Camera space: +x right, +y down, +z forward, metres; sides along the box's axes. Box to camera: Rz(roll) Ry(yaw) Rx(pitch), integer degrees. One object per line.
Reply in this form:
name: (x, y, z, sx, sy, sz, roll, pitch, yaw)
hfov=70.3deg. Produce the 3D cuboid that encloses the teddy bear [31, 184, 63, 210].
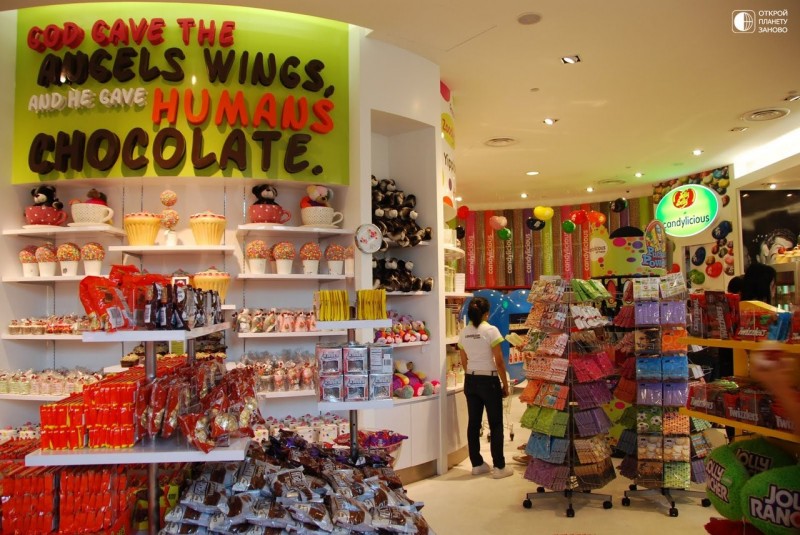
teddy bear: (-3.507, -0.691, 5.624, 0.230, 0.225, 0.164, -7, -12, 9)

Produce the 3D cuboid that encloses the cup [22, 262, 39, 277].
cup: (-3.668, 0.031, 5.614, 0.152, 0.114, 0.139, -2, -3, 0)

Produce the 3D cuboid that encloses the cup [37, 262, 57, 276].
cup: (-3.469, 0.025, 5.608, 0.156, 0.110, 0.142, 1, -3, 0)

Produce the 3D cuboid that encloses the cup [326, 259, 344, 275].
cup: (-0.660, 0.007, 5.750, 0.146, 0.112, 0.143, 0, 2, 0)

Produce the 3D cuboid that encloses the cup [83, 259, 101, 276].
cup: (-2.953, 0.001, 5.461, 0.168, 0.121, 0.166, -2, 1, 0)

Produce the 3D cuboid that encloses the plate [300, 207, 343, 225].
plate: (-0.799, -0.500, 5.743, 0.288, 0.116, 0.224, 1, -6, -10)

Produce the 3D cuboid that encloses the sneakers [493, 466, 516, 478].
sneakers: (1.125, 2.209, 6.183, 0.252, 0.097, 0.103, 0, -1, -42)

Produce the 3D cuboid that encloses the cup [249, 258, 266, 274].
cup: (-1.411, -0.010, 5.656, 0.154, 0.110, 0.152, 1, -2, 0)

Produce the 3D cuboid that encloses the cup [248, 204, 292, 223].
cup: (-1.310, -0.521, 5.668, 0.286, 0.125, 0.219, 1, -2, -5)

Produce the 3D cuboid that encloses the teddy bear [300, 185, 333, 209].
teddy bear: (-0.840, -0.712, 5.803, 0.343, 0.261, 0.227, 0, -3, -23)

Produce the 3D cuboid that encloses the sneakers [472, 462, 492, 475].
sneakers: (0.892, 2.206, 6.239, 0.088, 0.093, 0.238, -2, -1, 38)

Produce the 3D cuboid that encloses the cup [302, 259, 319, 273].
cup: (-0.899, -0.008, 5.747, 0.143, 0.103, 0.142, 0, 3, 0)

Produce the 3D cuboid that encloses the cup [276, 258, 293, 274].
cup: (-1.170, -0.003, 5.663, 0.152, 0.110, 0.138, 1, -1, 33)

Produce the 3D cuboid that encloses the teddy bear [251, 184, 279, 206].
teddy bear: (-1.379, -0.719, 5.799, 0.249, 0.243, 0.379, -1, -3, -13)

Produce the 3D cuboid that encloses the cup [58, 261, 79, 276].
cup: (-3.231, 0.017, 5.564, 0.172, 0.125, 0.165, -3, -4, 0)

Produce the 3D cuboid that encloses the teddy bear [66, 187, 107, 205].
teddy bear: (-3.042, -0.665, 5.619, 0.298, 0.131, 0.313, -2, -8, -41)
